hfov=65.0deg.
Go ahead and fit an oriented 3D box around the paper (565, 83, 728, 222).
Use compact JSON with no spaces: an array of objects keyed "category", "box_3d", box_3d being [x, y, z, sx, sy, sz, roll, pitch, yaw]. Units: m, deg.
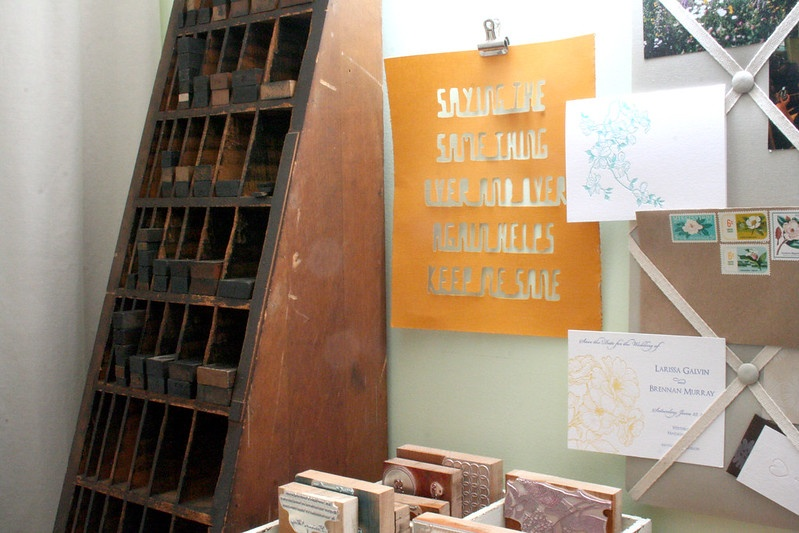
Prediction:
[{"category":"paper","box_3d":[0.786,-0.367,2.066,0.507,0.410,0.063,4,15,36]}]
